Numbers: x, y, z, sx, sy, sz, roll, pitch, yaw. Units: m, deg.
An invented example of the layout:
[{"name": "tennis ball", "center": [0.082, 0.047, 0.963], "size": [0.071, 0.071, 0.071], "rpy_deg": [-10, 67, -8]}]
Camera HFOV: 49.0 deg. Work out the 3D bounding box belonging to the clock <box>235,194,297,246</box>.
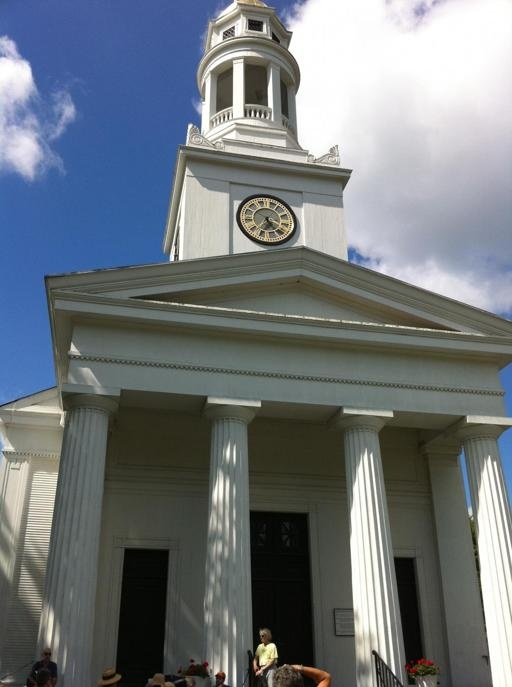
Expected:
[{"name": "clock", "center": [0.252, -3.750, 17.296], "size": [1.890, 2.173, 0.191], "rpy_deg": [9, -41, -20]}]
